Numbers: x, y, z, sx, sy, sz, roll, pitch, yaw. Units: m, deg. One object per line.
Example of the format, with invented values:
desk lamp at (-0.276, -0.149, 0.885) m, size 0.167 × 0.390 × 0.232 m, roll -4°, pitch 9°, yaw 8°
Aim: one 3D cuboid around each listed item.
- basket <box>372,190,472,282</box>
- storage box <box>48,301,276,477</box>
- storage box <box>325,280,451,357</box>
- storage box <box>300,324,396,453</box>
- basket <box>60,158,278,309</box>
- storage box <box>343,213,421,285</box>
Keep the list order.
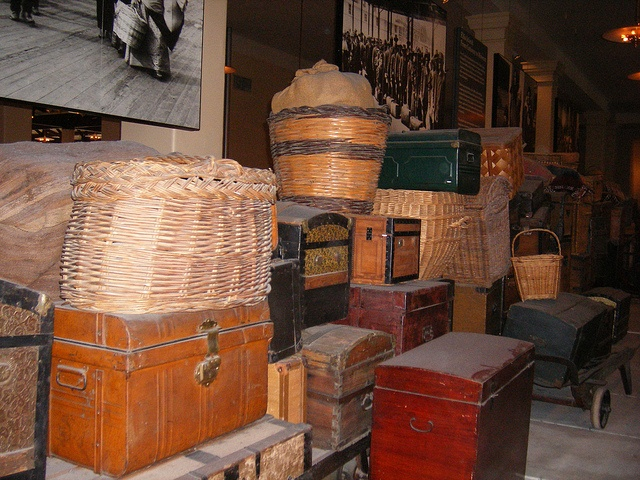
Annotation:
basket at (0.632, -0.012, 3.539) m, size 0.583 × 0.430 × 0.603 m, roll 0°, pitch 5°, yaw -23°
storage box at (-0.521, 0.317, 1.848) m, size 0.482 × 0.431 × 0.680 m, roll 3°, pitch 4°, yaw 28°
storage box at (0.441, 0.377, 3.081) m, size 0.446 × 0.271 × 0.447 m, roll 1°, pitch 2°, yaw 36°
storage box at (0.048, 0.659, 2.673) m, size 0.473 × 0.393 × 0.461 m, roll 4°, pitch 6°, yaw 39°
basket at (-0.492, -0.038, 1.839) m, size 0.594 × 0.377 × 0.462 m, roll -5°, pitch 11°, yaw -37°
storage box at (0.387, 0.044, 3.156) m, size 0.384 × 0.360 × 0.392 m, roll 1°, pitch 1°, yaw 35°
